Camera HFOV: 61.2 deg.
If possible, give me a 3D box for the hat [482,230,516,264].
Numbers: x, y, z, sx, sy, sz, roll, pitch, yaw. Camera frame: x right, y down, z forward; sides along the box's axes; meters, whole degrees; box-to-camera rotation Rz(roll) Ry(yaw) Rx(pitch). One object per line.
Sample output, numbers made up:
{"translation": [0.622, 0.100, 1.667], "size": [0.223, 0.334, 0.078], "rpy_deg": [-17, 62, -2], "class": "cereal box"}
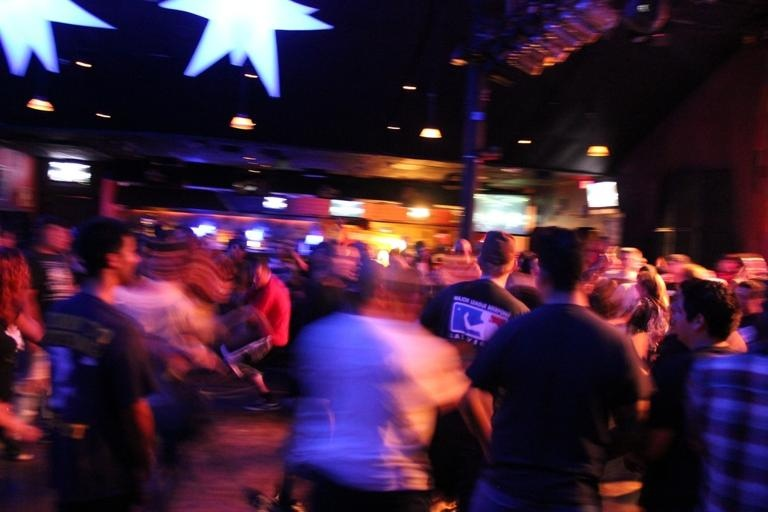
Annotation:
{"translation": [0.847, -0.070, 4.774], "size": [0.208, 0.195, 0.264], "rpy_deg": [5, 17, 10], "class": "hat"}
